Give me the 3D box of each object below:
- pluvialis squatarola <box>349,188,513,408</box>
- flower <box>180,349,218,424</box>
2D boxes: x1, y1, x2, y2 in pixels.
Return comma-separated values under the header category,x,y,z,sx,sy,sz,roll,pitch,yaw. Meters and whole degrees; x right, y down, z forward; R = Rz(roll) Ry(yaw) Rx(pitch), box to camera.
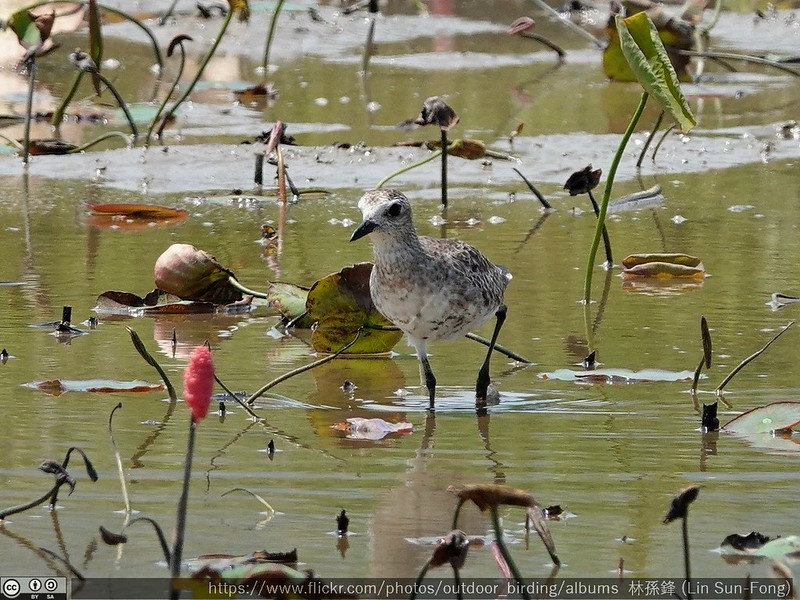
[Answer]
category,x,y,z,sx,sy,sz,roll,pitch,yaw
pluvialis squatarola,0.146,-0.041,5.425,0.616,1.042,0.703,9,18,35
flower,-0.545,0.233,2.887,0.081,0.250,0.217,-5,14,-11
